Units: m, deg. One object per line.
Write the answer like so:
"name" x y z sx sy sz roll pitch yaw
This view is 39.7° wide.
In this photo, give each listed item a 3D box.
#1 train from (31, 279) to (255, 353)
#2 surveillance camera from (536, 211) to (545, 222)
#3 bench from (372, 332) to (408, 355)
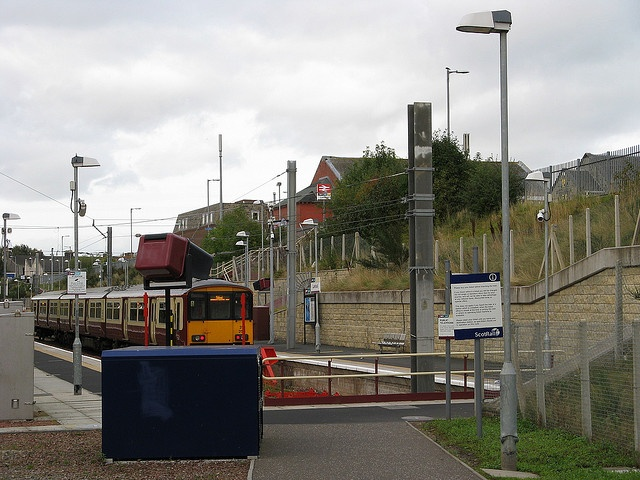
"train" -6.999 3.071 35.116 2.677 3.543 19.356 1 -6 -30
"surveillance camera" 7.777 -0.826 31.332 0.242 0.352 0.909 -14 11 13
"bench" 3.051 4.403 38.066 0.923 0.852 2.433 1 -7 -20
